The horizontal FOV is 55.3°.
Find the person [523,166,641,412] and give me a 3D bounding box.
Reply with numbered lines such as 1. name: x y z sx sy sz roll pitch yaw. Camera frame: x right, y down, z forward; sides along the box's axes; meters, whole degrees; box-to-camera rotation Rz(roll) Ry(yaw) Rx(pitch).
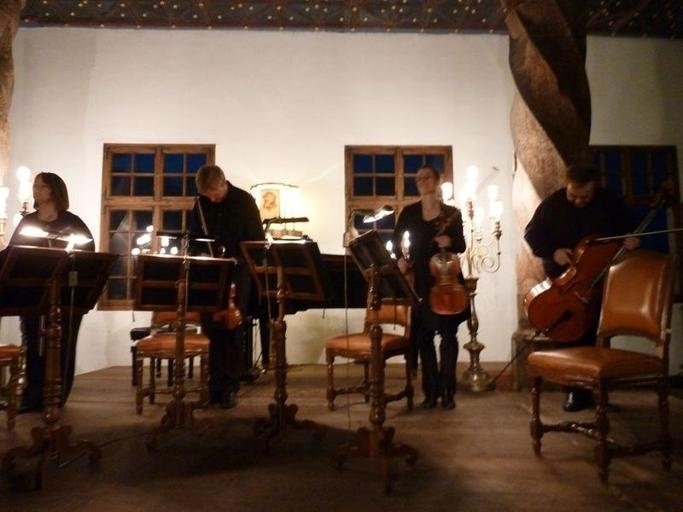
1. person: 1.917 0.302 5.995 1.032 2.020 0.644 19 -2 4

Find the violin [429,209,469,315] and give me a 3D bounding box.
1. violin: 0.948 0.242 5.802 0.344 0.587 0.264 -1 6 0

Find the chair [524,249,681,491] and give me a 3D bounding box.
1. chair: 1.930 0.761 4.754 0.996 1.556 0.655 -1 6 -3

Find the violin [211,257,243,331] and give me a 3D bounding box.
1. violin: -1.015 0.475 5.866 0.247 0.475 0.375 -2 6 -16

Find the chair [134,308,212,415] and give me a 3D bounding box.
1. chair: -1.626 0.938 6.365 0.674 1.053 0.733 0 -4 -13

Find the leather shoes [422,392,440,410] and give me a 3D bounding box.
1. leather shoes: 0.834 1.353 6.048 0.152 0.068 0.191 -1 -5 3

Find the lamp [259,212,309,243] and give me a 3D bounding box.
1. lamp: -0.470 -0.168 5.383 0.376 0.134 0.553 -3 -2 1

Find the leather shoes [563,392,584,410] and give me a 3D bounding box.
1. leather shoes: 2.095 1.323 5.926 0.119 0.158 0.195 2 4 27

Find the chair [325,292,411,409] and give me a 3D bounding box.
1. chair: 0.283 0.858 6.088 0.790 1.108 0.820 -2 -5 18

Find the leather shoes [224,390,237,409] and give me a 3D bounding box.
1. leather shoes: -1.025 1.337 6.025 0.095 0.151 0.153 0 -26 -1
